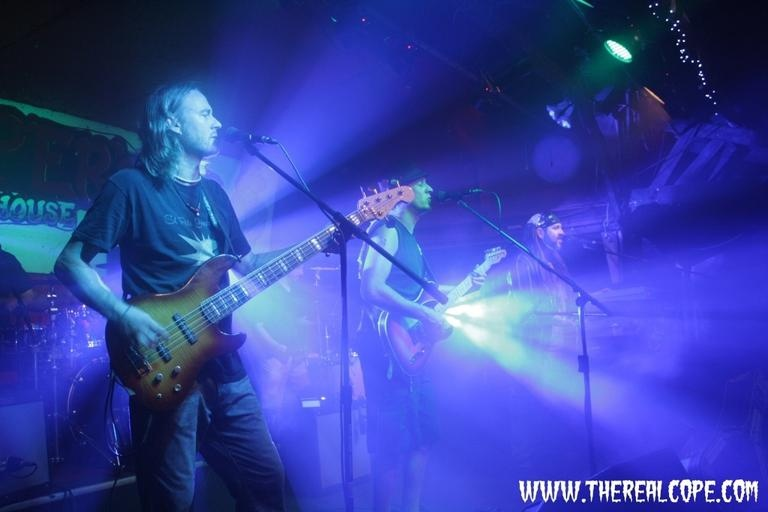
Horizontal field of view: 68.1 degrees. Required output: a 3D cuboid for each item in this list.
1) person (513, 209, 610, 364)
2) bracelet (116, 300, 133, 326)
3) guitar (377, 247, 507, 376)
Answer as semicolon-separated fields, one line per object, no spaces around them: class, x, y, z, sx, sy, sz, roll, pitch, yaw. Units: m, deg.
person;1.898;0.314;6.615;0.782;1.542;1.965;-22;-11;16
bracelet;-1.882;0.421;4.113;0.078;0.197;0.020;37;-27;-27
guitar;0.542;0.442;5.481;1.588;0.631;0.182;-49;-2;0
